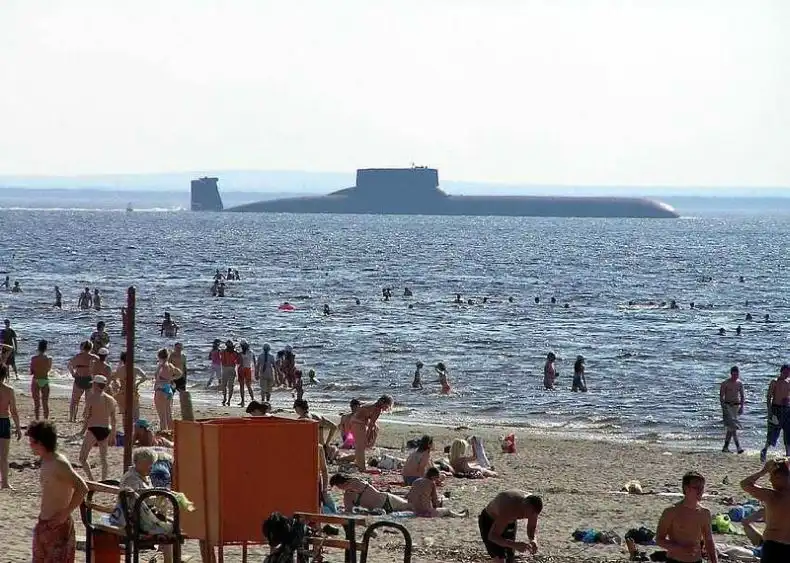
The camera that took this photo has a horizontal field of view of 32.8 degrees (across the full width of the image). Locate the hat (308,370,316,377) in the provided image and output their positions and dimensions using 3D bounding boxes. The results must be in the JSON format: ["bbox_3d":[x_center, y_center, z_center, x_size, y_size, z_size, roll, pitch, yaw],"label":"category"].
[{"bbox_3d":[-1.904,2.161,31.620,0.159,0.201,0.098,6,-8,-13],"label":"hat"}]

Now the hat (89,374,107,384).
[{"bbox_3d":[-4.615,1.477,20.756,0.250,0.113,0.178,7,-1,23],"label":"hat"}]

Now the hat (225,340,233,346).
[{"bbox_3d":[-3.601,1.348,29.246,0.156,0.111,0.155,1,1,-8],"label":"hat"}]
